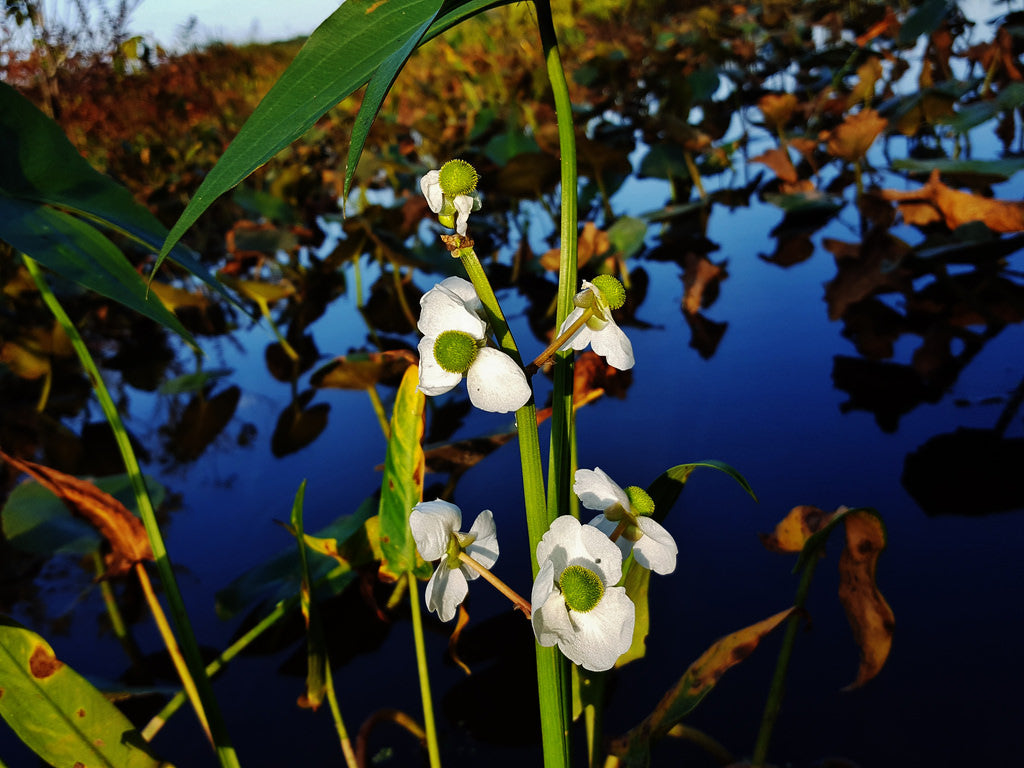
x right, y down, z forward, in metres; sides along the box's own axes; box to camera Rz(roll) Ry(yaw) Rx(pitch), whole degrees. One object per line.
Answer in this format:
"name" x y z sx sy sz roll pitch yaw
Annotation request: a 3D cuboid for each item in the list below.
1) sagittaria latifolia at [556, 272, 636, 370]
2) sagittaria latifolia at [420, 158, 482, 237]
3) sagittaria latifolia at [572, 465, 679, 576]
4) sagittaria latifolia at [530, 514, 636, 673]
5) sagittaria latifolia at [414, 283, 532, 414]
"sagittaria latifolia" 0.085 -0.072 0.836 0.049 0.070 0.030 14 73 34
"sagittaria latifolia" -0.051 -0.177 0.873 0.059 0.071 0.027 26 27 37
"sagittaria latifolia" 0.102 0.122 0.848 0.035 0.092 0.093 -50 -4 9
"sagittaria latifolia" 0.059 0.184 0.827 0.087 0.118 0.068 -15 23 8
"sagittaria latifolia" -0.038 -0.034 0.830 0.049 0.136 0.142 -8 47 -18
